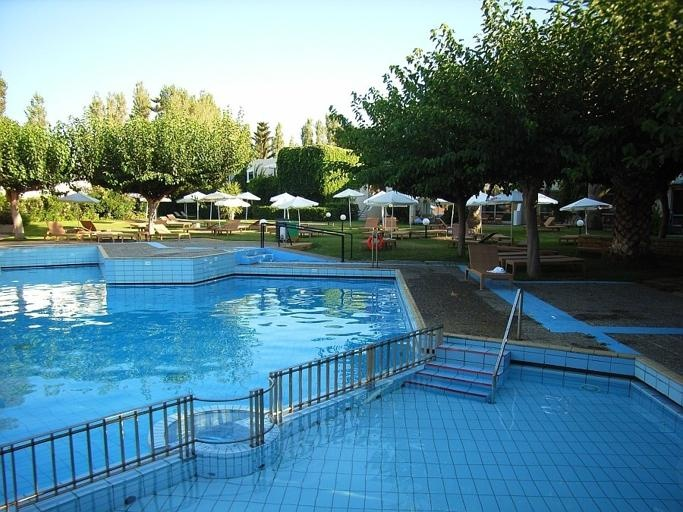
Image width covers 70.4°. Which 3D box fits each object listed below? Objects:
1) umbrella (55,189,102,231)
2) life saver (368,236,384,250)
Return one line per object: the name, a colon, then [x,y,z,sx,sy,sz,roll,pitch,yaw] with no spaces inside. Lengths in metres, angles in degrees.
umbrella: [-16.283,-2.828,29.750,2.294,2.245,2.303,13,22,24]
life saver: [1.104,-0.423,15.773,0.529,0.566,0.148,0,1,20]
